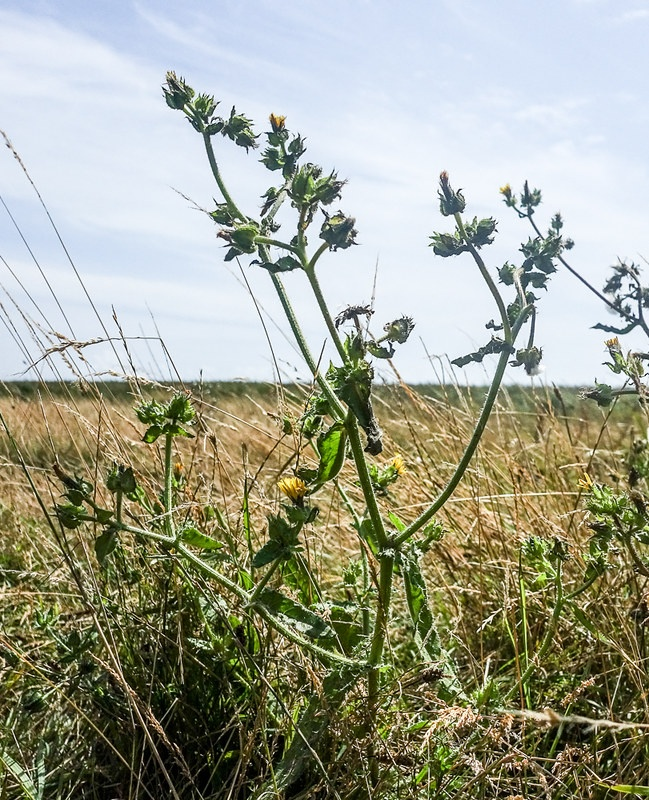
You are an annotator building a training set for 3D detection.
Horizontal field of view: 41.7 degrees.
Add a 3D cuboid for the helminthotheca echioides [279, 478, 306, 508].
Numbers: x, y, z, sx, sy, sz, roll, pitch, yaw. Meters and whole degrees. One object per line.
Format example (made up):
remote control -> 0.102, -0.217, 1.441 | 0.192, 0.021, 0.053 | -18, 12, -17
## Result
helminthotheca echioides -> -0.074, 0.227, 2.050 | 0.066, 0.063, 0.065 | -13, 24, -36
